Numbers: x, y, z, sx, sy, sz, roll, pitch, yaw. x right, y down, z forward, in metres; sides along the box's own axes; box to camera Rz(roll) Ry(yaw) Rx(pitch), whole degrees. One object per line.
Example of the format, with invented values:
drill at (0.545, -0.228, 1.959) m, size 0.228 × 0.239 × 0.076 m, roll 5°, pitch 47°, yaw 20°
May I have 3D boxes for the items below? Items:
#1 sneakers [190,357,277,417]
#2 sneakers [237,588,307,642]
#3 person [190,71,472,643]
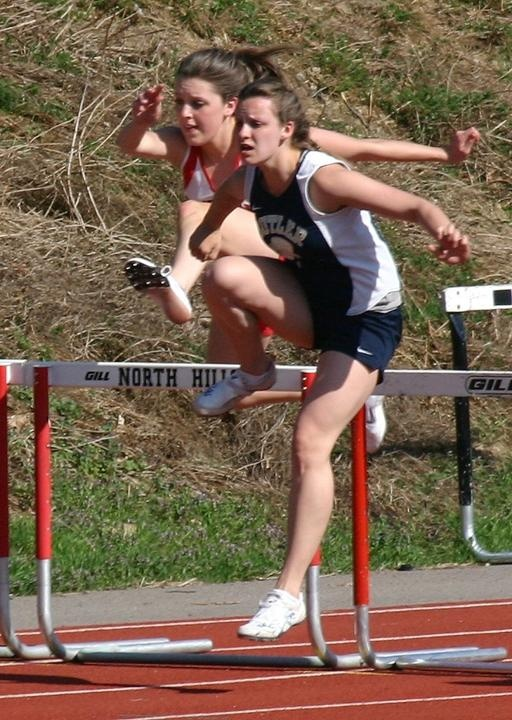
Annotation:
sneakers at (-0.074, 0.101, 2.864) m, size 0.341 × 0.122 × 0.110 m, roll -27°, pitch 54°, yaw -11°
sneakers at (0.050, 0.695, 2.415) m, size 0.080 × 0.087 × 0.239 m, roll 15°, pitch 23°, yaw 39°
person at (0.158, -0.044, 2.587) m, size 0.663 × 1.601 × 0.843 m, roll -1°, pitch -2°, yaw -5°
